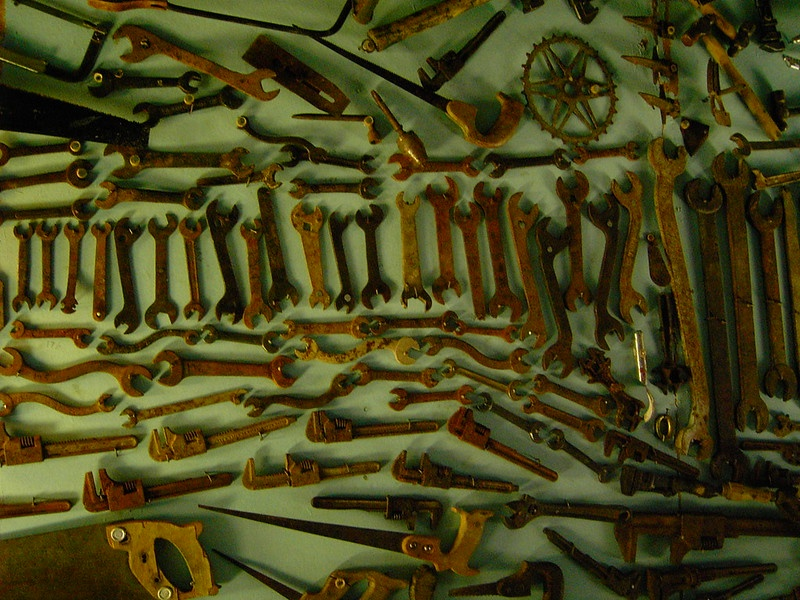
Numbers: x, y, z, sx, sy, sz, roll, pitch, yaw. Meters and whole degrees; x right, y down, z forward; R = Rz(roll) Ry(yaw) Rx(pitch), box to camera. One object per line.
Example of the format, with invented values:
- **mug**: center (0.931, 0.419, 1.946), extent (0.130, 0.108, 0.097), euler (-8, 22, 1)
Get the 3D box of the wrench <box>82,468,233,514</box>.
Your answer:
- **wrench**: center (-1.366, 0.946, 5.084), extent (0.674, 0.231, 0.082), euler (-10, 4, -11)
